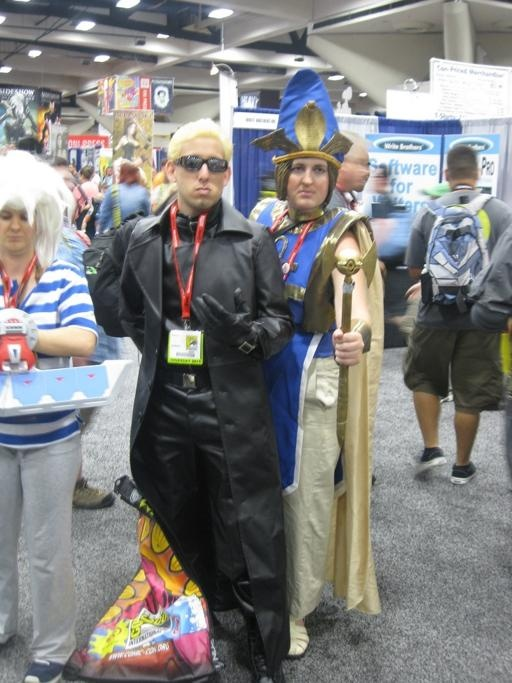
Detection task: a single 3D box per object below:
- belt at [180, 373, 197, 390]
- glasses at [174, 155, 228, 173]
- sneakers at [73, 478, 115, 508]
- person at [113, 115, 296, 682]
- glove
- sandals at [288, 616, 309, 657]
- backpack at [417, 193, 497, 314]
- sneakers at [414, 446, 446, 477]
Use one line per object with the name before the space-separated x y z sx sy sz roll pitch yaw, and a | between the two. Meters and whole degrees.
belt | -0.190 0.113 1.534 0.048 0.075 0.038 1 -2 15
glasses | -0.152 -0.495 1.520 0.146 0.045 0.055 0 11 -6
sneakers | -0.846 0.789 2.796 0.175 0.064 0.137 0 20 -8
person | -0.152 0.203 1.639 0.611 1.678 0.410 11 15 43
glove | -0.068 -0.042 1.417 0.120 0.185 0.169 5 12 23
sandals | 0.154 0.991 1.816 0.059 0.046 0.158 0 -2 2
backpack | 1.207 -0.575 3.218 0.399 0.693 0.381 -3 32 21
sneakers | 1.013 0.723 3.236 0.093 0.127 0.267 -9 -26 -24
